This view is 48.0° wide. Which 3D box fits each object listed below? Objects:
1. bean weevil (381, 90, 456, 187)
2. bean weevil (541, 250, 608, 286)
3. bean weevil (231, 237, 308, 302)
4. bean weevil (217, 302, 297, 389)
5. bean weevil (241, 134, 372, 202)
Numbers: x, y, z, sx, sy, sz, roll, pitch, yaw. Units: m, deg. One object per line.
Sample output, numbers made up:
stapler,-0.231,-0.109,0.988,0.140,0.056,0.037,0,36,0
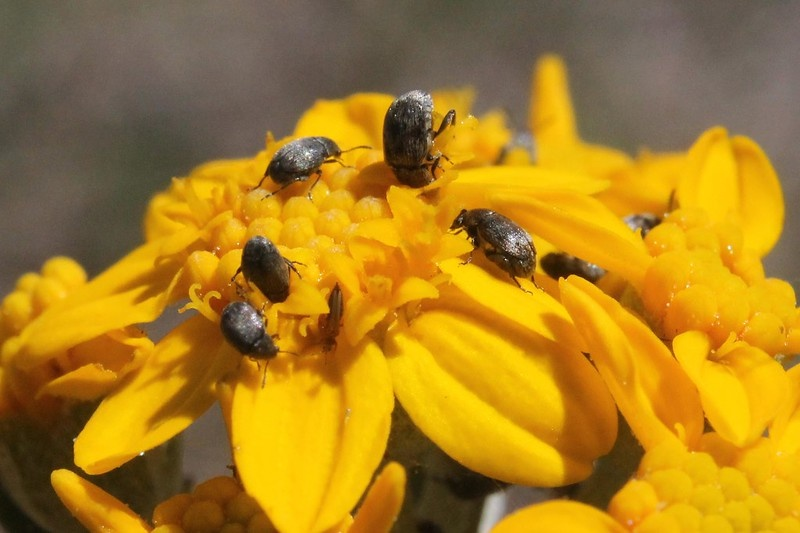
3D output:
bean weevil,0.033,-0.213,1.619,0.161,0.049,0.155,0,82,38
bean weevil,0.327,-0.004,1.684,0.100,0.035,0.057,14,20,35
bean weevil,-0.216,0.007,1.499,0.093,0.100,0.060,-1,44,16
bean weevil,-0.229,0.128,1.441,0.133,0.037,0.099,44,81,-3
bean weevil,-0.190,-0.202,1.685,0.142,0.048,0.127,-16,31,-29
